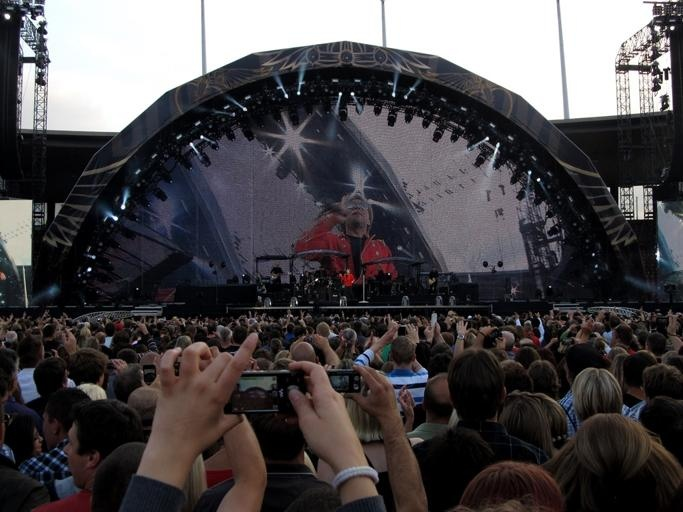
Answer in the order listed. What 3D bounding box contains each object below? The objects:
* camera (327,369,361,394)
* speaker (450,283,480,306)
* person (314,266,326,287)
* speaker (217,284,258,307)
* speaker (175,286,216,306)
[{"bbox_3d":[0.016,0.642,3.294,0.209,0.137,0.129,-1,-2,-19],"label":"camera"},{"bbox_3d":[5.258,1.614,27.716,1.173,0.807,1.557,-2,-2,8],"label":"speaker"},{"bbox_3d":[-1.128,1.101,32.628,0.549,1.177,0.632,-3,-3,22],"label":"person"},{"bbox_3d":[-4.277,1.622,26.353,1.627,0.879,0.558,-1,-3,-14],"label":"speaker"},{"bbox_3d":[-5.899,1.579,26.280,1.922,0.741,0.702,-3,-3,29],"label":"speaker"}]
